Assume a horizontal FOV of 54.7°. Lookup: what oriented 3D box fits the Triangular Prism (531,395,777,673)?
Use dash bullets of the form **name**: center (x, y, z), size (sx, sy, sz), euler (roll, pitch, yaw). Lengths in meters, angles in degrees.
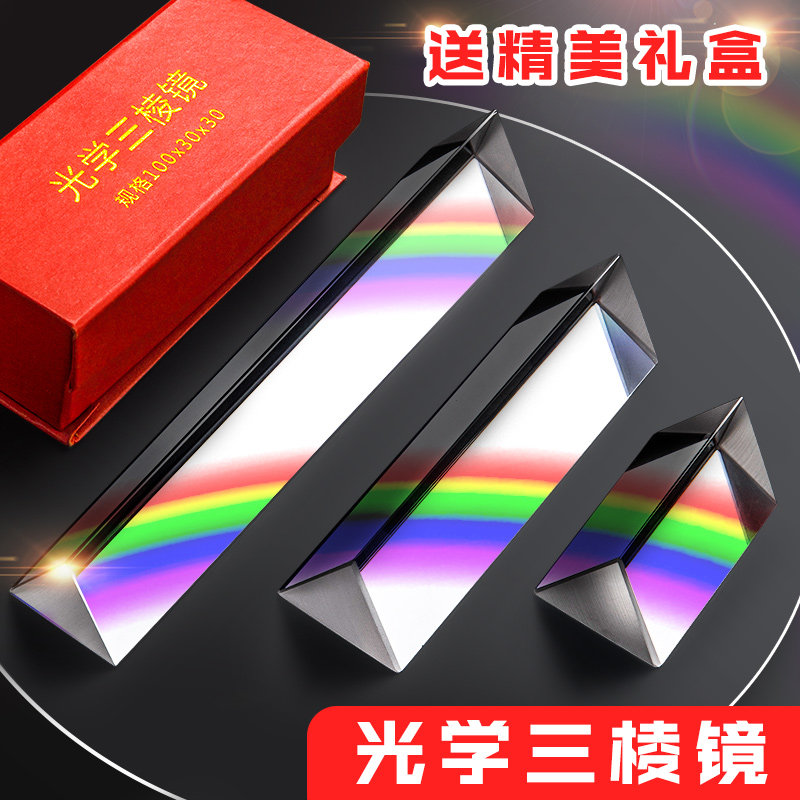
- **Triangular Prism**: center (0.325, 0.144, 0.946), size (0.171, 0.100, 0.315), euler (25, 62, 39)
